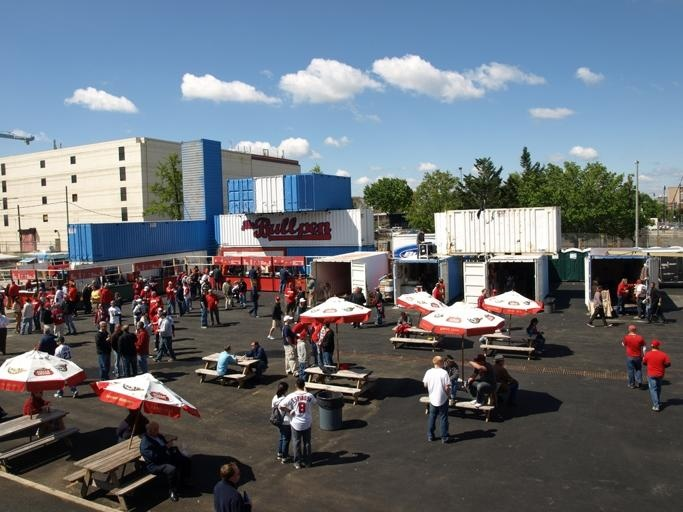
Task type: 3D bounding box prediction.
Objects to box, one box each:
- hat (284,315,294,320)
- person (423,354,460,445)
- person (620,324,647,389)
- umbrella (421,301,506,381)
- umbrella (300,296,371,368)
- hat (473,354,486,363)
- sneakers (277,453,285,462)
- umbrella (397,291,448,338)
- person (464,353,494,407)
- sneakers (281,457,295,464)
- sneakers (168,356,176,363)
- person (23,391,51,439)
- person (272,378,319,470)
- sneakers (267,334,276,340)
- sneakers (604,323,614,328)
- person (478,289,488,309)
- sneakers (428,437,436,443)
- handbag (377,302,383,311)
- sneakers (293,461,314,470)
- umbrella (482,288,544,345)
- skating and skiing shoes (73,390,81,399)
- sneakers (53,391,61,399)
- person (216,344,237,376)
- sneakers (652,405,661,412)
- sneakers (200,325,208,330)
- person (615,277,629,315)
[{"bbox_3d":[-1.992,2.303,27.878,0.312,0.154,0.460,-6,-6,-30],"label":"hat"},{"bbox_3d":[2.871,4.297,22.256,0.738,2.371,0.726,4,15,23],"label":"person"},{"bbox_3d":[9.780,3.322,25.092,0.666,2.191,0.624,4,15,22],"label":"person"},{"bbox_3d":[4.076,2.705,25.305,2.665,2.593,2.616,-1,-5,5],"label":"umbrella"},{"bbox_3d":[-0.120,2.743,26.267,2.220,2.223,2.346,-4,3,13],"label":"umbrella"},{"bbox_3d":[4.357,3.241,23.661,0.361,0.197,0.260,7,7,18],"label":"hat"},{"bbox_3d":[-1.741,5.815,21.596,0.216,0.229,0.515,0,-6,-4],"label":"sneakers"},{"bbox_3d":[3.139,2.266,28.820,1.478,1.038,1.359,0,2,-23],"label":"umbrella"},{"bbox_3d":[4.430,3.941,23.600,0.859,1.598,1.023,-2,14,0],"label":"person"},{"bbox_3d":[-1.532,5.894,21.603,0.319,0.146,0.154,-4,2,12],"label":"sneakers"},{"bbox_3d":[-6.632,4.102,29.487,0.118,0.155,0.357,0,-23,-2],"label":"sneakers"},{"bbox_3d":[-9.179,4.731,22.655,0.798,1.494,0.783,-8,10,-27],"label":"person"},{"bbox_3d":[-1.194,4.752,21.404,0.760,2.431,0.862,5,16,27],"label":"person"},{"bbox_3d":[-3.065,3.492,32.399,0.396,0.181,0.139,1,6,24],"label":"sneakers"},{"bbox_3d":[11.720,3.036,32.888,0.367,0.148,0.133,-3,8,-24],"label":"sneakers"},{"bbox_3d":[6.265,1.902,33.255,0.395,1.159,0.441,0,22,6],"label":"person"},{"bbox_3d":[2.694,5.460,22.345,0.202,0.156,0.123,1,9,15],"label":"sneakers"},{"bbox_3d":[1.827,2.370,34.924,0.395,0.351,0.563,-2,-11,16],"label":"handbag"},{"bbox_3d":[-1.075,5.980,21.348,0.551,0.266,0.188,4,-7,-5],"label":"sneakers"},{"bbox_3d":[6.506,2.450,28.528,2.041,1.573,2.176,-4,2,20],"label":"umbrella"},{"bbox_3d":[-9.135,4.778,25.897,0.145,0.373,0.156,-10,39,-36],"label":"skating and skiing shoes"},{"bbox_3d":[-9.762,4.796,25.872,0.303,0.218,0.162,8,-1,12],"label":"sneakers"},{"bbox_3d":[-4.140,3.808,27.164,0.698,1.278,0.773,9,17,26],"label":"person"},{"bbox_3d":[9.860,4.791,23.517,0.200,0.103,0.269,1,4,26],"label":"sneakers"},{"bbox_3d":[-6.374,3.276,34.895,0.259,0.119,0.408,-5,15,-13],"label":"sneakers"},{"bbox_3d":[13.446,1.987,36.016,0.731,2.177,0.776,-1,24,18],"label":"person"}]
